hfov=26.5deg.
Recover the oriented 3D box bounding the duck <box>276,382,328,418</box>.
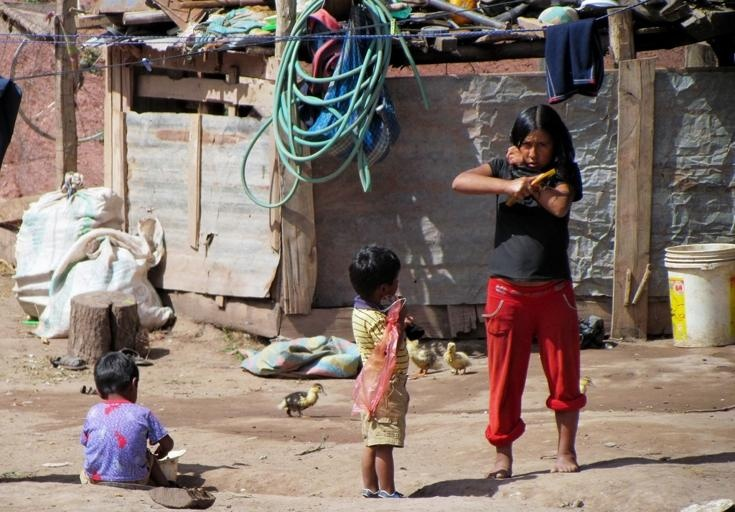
[{"bbox_3d":[-0.825,1.710,18.488,0.671,0.380,0.277,-5,-7,17],"label":"duck"}]

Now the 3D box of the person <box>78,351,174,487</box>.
[{"bbox_3d":[-2.565,1.739,16.610,0.937,1.416,0.362,-1,2,-9],"label":"person"}]

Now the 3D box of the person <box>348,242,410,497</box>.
[{"bbox_3d":[0.126,1.216,16.328,0.593,2.612,0.308,0,2,-1],"label":"person"}]

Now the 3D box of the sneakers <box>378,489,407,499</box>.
[{"bbox_3d":[0.267,2.485,16.319,0.281,0.091,0.093,1,1,-13],"label":"sneakers"}]

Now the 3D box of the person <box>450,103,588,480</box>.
[{"bbox_3d":[1.713,0.389,16.416,1.139,3.936,0.410,0,2,4],"label":"person"}]

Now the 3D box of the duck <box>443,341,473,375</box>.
[{"bbox_3d":[1.121,1.322,19.794,0.296,0.296,0.468,-11,-16,32],"label":"duck"}]

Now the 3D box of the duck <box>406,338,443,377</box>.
[{"bbox_3d":[0.720,1.294,20.173,0.393,0.456,0.713,0,1,2],"label":"duck"}]
